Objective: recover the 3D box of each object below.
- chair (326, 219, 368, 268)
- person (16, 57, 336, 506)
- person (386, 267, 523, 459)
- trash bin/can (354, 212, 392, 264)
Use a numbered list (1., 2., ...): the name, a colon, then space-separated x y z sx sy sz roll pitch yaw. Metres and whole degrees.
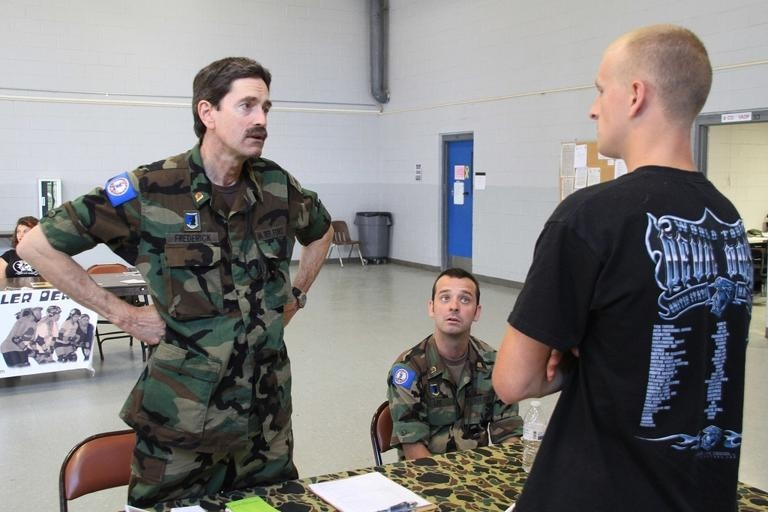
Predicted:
1. chair: -0.880 -0.309 11.970 0.800 0.915 0.713 7 10 43
2. person: -0.736 0.101 1.928 0.829 1.636 0.340 -2 8 -30
3. person: 0.360 0.575 2.611 0.746 0.940 0.671 2 -4 -20
4. trash bin/can: -0.303 -0.481 12.609 1.115 1.104 0.811 -1 -2 -5
